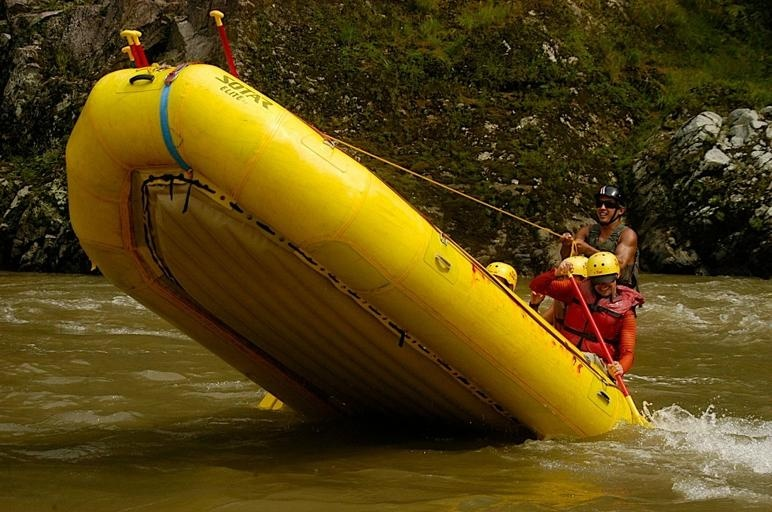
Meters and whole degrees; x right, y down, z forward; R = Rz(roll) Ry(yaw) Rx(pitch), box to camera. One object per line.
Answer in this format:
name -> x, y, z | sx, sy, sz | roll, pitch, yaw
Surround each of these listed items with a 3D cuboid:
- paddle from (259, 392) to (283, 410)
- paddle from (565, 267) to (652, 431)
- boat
paddle -> -1.419, 1.818, 13.274 | 0.268, 0.228, 0.057 | 25, -24, 20
paddle -> 2.634, 1.153, 12.913 | 2.344, 0.296, 0.286 | 53, -14, 19
boat -> -0.832, -0.202, 12.156 | 7.147, 1.626, 3.254 | 30, -20, -14
